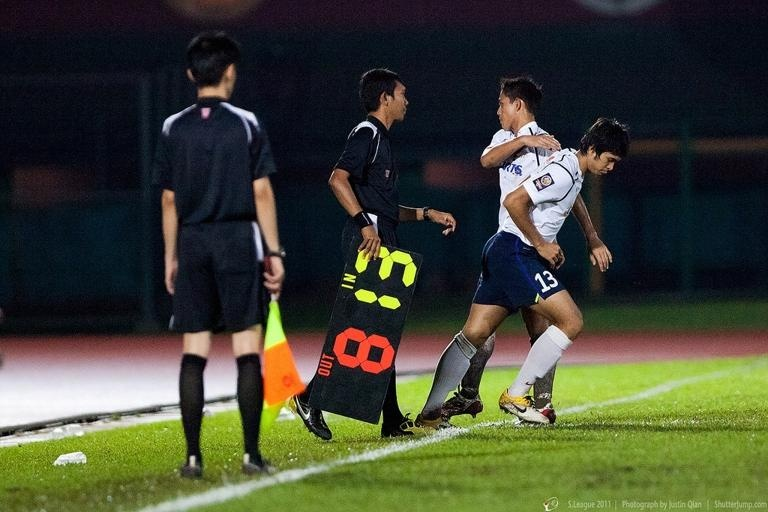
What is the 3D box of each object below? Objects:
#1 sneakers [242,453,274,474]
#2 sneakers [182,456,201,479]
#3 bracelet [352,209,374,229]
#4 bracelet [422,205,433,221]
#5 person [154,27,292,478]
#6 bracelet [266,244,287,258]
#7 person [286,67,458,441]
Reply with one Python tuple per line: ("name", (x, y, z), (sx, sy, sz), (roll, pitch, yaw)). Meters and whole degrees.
("sneakers", (-0.999, 1.650, 7.883), (0.321, 0.135, 0.107), (4, 0, -11))
("sneakers", (-1.490, 1.681, 7.947), (0.194, 0.185, 0.115), (-3, -6, 3))
("bracelet", (-0.182, -0.316, 8.693), (0.167, 0.122, 0.164), (20, 17, -25))
("bracelet", (0.412, -0.399, 9.378), (0.078, 0.117, 0.116), (1, -1, 7))
("person", (-1.295, -0.010, 7.905), (0.971, 3.485, 0.485), (-2, 4, -3))
("bracelet", (-0.892, -0.037, 8.227), (0.188, 0.108, 0.214), (2, 3, -6))
("person", (-0.223, -0.022, 8.805), (1.088, 3.279, 0.627), (-3, 4, -17))
